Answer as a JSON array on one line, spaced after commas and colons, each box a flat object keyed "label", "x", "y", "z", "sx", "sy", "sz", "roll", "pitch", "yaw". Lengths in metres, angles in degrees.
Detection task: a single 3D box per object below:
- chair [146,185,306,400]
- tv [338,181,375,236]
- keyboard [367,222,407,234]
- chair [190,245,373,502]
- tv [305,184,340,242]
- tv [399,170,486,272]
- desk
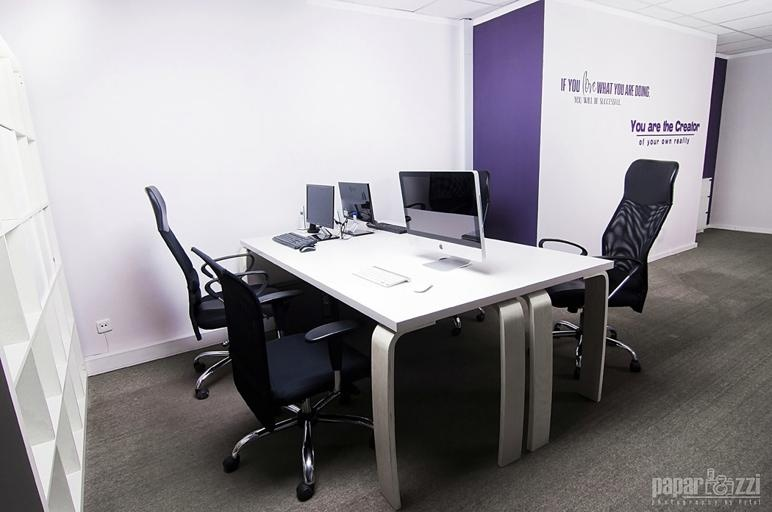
[{"label": "chair", "x": -1.396, "y": 0.292, "z": 4.533, "sx": 1.185, "sy": 1.703, "sz": 1.048, "roll": -10, "pitch": 14, "yaw": -34}, {"label": "tv", "x": -0.304, "y": -0.466, "z": 5.001, "sx": 0.305, "sy": 0.528, "sz": 0.489, "roll": -15, "pitch": 22, "yaw": -40}, {"label": "keyboard", "x": 0.048, "y": -0.293, "z": 5.203, "sx": 0.168, "sy": 0.060, "sz": 0.306, "roll": -8, "pitch": 15, "yaw": -36}, {"label": "chair", "x": -0.672, "y": 0.721, "z": 3.733, "sx": 1.216, "sy": 1.547, "sz": 1.238, "roll": 9, "pitch": 16, "yaw": 32}, {"label": "tv", "x": -0.648, "y": -0.419, "z": 4.904, "sx": 0.210, "sy": 0.444, "sz": 0.508, "roll": -12, "pitch": 24, "yaw": -34}, {"label": "tv", "x": 0.435, "y": -0.261, "z": 3.863, "sx": 0.348, "sy": 0.664, "sz": 0.726, "roll": -18, "pitch": 18, "yaw": -33}, {"label": "desk", "x": 0.490, "y": 0.368, "z": 3.767, "sx": 1.918, "sy": 1.227, "sz": 2.649, "roll": -9, "pitch": 16, "yaw": -36}]
